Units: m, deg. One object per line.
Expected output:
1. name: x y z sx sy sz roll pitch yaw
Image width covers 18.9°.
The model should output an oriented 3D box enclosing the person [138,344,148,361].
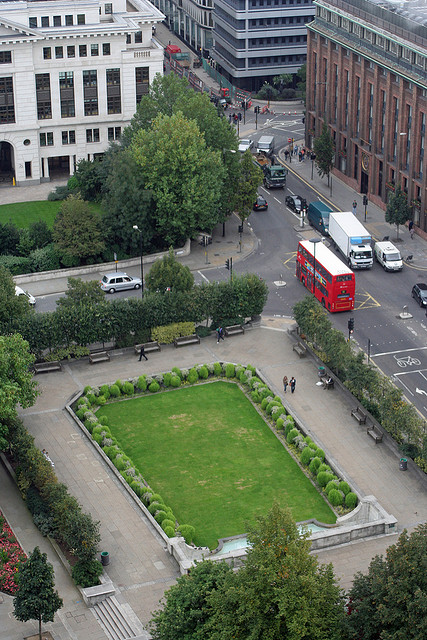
1. person: -6.087 2.794 109.027 0.632 1.090 1.430 0 13 -2

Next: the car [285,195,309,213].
1. car: 9.129 -13.141 144.151 1.203 1.044 2.896 -9 32 -12

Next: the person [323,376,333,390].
1. person: 9.165 5.092 103.006 0.627 0.898 0.846 8 15 31

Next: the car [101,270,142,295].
1. car: -9.029 -3.423 123.475 2.949 1.531 2.033 -11 31 -15

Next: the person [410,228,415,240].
1. person: 20.719 -9.134 134.835 0.397 1.005 1.189 3 13 9

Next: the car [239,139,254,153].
1. car: 3.963 -22.173 162.177 1.532 1.179 3.913 4 14 6

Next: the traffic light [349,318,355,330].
1. traffic light: 11.090 0.326 104.100 0.244 0.900 0.698 5 13 17

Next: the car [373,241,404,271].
1. car: 17.272 -6.118 127.043 1.684 1.756 3.459 -10 39 -3

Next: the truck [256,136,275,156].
1. truck: 6.519 -22.116 163.519 1.520 1.614 2.964 4 26 9

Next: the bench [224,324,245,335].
1. bench: 1.827 0.929 113.277 1.703 0.809 0.747 -9 -17 -35

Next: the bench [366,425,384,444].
1. bench: 11.962 8.535 95.483 0.751 0.966 1.603 -4 14 -20

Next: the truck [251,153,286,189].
1. truck: 6.744 -17.920 153.396 2.255 2.808 6.278 -10 34 -10

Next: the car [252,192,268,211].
1. car: 5.199 -13.140 144.799 1.317 1.620 2.644 5 14 18

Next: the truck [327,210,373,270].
1. truck: 13.606 -7.936 128.326 2.234 3.559 6.964 -4 29 -17

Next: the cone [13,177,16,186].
1. cone: -23.984 -16.588 154.395 0.293 0.711 0.951 -4 14 -20

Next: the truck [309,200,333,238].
1. truck: 11.218 -10.894 136.419 1.671 2.082 4.130 -8 34 -12
